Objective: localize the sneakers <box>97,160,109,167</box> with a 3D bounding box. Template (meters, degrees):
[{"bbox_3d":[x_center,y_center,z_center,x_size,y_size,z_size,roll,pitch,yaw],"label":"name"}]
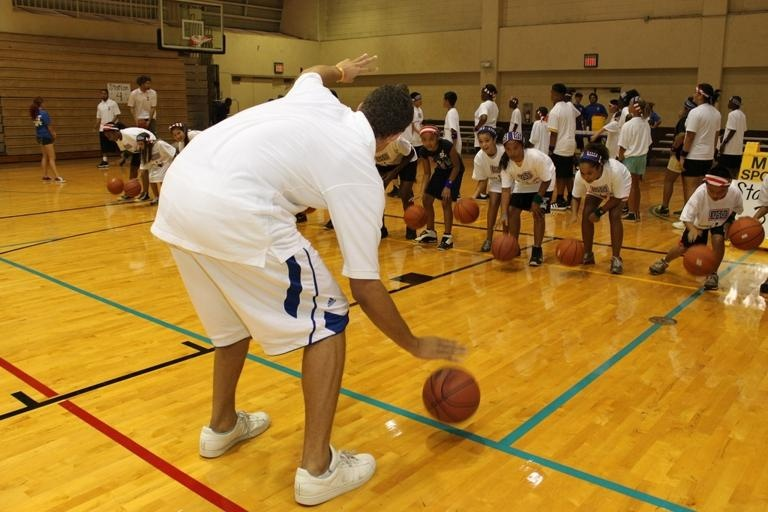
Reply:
[{"bbox_3d":[-7.609,-2.458,14.409,0.195,0.149,0.351,-2,5,-7],"label":"sneakers"}]

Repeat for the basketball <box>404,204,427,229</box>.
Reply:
[{"bbox_3d":[0.421,-0.516,7.172,0.299,0.348,0.291,-9,3,-14],"label":"basketball"}]

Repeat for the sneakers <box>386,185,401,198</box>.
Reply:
[{"bbox_3d":[0.254,-1.338,11.001,0.173,0.291,0.406,-9,19,-24],"label":"sneakers"}]

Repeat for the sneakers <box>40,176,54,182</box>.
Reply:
[{"bbox_3d":[-7.711,-1.750,12.148,0.112,0.109,0.265,11,15,37],"label":"sneakers"}]

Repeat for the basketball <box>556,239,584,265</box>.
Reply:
[{"bbox_3d":[2.168,-0.026,6.132,0.300,0.304,0.306,-4,-11,34],"label":"basketball"}]

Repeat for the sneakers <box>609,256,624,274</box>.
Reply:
[{"bbox_3d":[2.701,0.117,6.187,0.102,0.111,0.284,2,11,25],"label":"sneakers"}]

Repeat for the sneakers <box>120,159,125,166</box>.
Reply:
[{"bbox_3d":[-7.151,-2.554,14.498,0.162,0.137,0.379,11,-7,-23],"label":"sneakers"}]

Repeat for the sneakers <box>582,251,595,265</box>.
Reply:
[{"bbox_3d":[2.496,0.034,6.482,0.077,0.096,0.217,2,6,37],"label":"sneakers"}]

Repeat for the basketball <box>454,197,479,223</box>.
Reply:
[{"bbox_3d":[1.093,-0.604,6.970,0.318,0.315,0.315,-2,11,-1],"label":"basketball"}]

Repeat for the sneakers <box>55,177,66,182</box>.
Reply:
[{"bbox_3d":[-7.350,-1.711,12.064,0.272,0.116,0.094,7,16,32],"label":"sneakers"}]

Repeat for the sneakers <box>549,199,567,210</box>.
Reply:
[{"bbox_3d":[3.175,-0.910,9.658,0.180,0.200,0.471,0,15,8],"label":"sneakers"}]

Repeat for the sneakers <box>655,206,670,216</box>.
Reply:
[{"bbox_3d":[4.819,-0.772,9.206,0.133,0.123,0.293,-2,16,10],"label":"sneakers"}]

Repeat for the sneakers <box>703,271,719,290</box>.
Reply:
[{"bbox_3d":[3.483,0.282,5.658,0.110,0.116,0.280,2,9,35],"label":"sneakers"}]

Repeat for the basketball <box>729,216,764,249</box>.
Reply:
[{"bbox_3d":[3.837,-0.251,5.639,0.241,0.280,0.234,12,26,-17],"label":"basketball"}]

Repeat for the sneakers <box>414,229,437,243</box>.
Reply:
[{"bbox_3d":[0.605,-0.279,7.480,0.360,0.209,0.126,0,21,4],"label":"sneakers"}]

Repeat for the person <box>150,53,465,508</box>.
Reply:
[{"bbox_3d":[-0.453,0.195,2.819,1.302,2.090,0.776,5,19,13],"label":"person"}]

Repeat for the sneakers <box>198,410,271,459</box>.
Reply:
[{"bbox_3d":[-0.893,1.057,3.304,0.176,0.189,0.486,12,20,32],"label":"sneakers"}]

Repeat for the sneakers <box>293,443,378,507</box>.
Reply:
[{"bbox_3d":[-0.236,1.147,2.924,0.531,0.240,0.198,-12,17,-43],"label":"sneakers"}]

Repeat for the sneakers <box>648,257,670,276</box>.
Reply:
[{"bbox_3d":[3.223,0.125,6.254,0.151,0.131,0.358,-20,-5,25],"label":"sneakers"}]

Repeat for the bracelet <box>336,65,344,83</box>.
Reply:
[{"bbox_3d":[-0.247,-1.050,3.085,0.026,0.091,0.093,-4,-14,-16],"label":"bracelet"}]

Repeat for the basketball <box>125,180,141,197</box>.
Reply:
[{"bbox_3d":[-4.660,-1.234,9.856,0.215,0.247,0.227,34,45,22],"label":"basketball"}]
